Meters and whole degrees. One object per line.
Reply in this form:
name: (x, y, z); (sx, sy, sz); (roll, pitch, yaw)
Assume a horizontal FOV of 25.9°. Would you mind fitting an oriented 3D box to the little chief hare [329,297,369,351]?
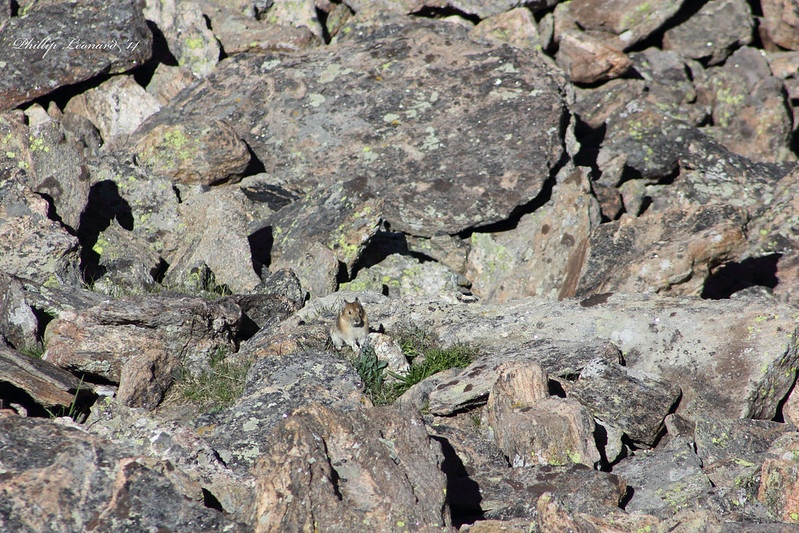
little chief hare: (-0.855, 0.948, 29.720); (0.634, 0.956, 0.982); (-5, 11, -9)
